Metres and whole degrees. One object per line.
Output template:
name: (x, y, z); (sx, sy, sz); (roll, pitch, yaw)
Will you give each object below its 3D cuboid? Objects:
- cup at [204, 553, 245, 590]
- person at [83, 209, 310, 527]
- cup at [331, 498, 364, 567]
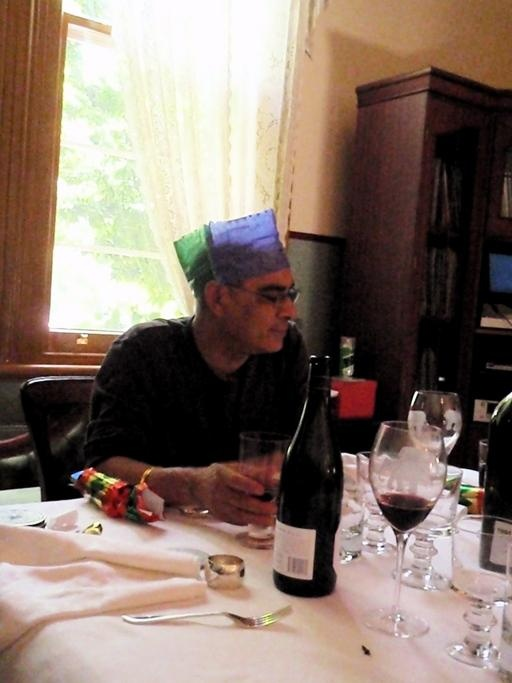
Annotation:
cup: (-0.035, 0.255, 0.626); (0.038, 0.022, 0.037); (2, 0, 0)
person: (-0.110, 0.046, 1.437); (0.625, 0.720, 0.484); (-5, 16, -36)
cup: (0.133, 0.290, 0.794); (0.037, 0.043, 0.042); (-24, -38, 17)
